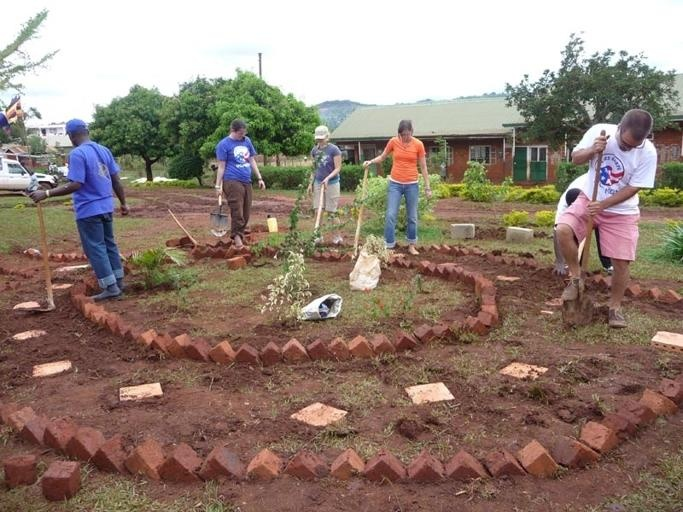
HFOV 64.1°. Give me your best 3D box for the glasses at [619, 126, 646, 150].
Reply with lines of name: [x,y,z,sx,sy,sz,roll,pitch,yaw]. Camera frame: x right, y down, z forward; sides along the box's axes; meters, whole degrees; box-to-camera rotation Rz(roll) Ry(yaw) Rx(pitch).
glasses: [2.788,-1.115,5.229,0.168,0.120,0.231,9,-15,10]

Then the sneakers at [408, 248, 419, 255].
sneakers: [1.123,-0.088,8.416,0.169,0.102,0.267,1,10,4]

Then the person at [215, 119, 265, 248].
person: [-1.655,-1.167,8.651,0.687,1.967,1.058,0,11,2]

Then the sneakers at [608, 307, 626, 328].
sneakers: [2.684,0.602,5.268,0.174,0.160,0.203,5,12,28]

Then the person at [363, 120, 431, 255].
person: [0.923,-1.068,8.484,0.869,2.001,0.687,0,11,3]

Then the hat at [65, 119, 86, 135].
hat: [-3.181,-1.538,6.497,0.191,0.178,0.117,-7,13,-32]

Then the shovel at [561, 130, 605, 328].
shovel: [2.502,-0.212,5.590,0.313,1.650,1.132,4,12,23]

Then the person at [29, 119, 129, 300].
person: [-3.148,-0.586,6.671,0.771,2.114,1.060,-4,11,-17]

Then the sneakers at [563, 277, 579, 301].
sneakers: [2.333,0.310,5.484,0.098,0.126,0.294,-1,23,42]

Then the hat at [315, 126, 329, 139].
hat: [-0.352,-2.170,9.627,0.230,0.267,0.459,-2,10,-7]

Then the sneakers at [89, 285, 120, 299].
sneakers: [-2.861,0.443,6.507,0.395,0.170,0.137,1,-1,-11]
